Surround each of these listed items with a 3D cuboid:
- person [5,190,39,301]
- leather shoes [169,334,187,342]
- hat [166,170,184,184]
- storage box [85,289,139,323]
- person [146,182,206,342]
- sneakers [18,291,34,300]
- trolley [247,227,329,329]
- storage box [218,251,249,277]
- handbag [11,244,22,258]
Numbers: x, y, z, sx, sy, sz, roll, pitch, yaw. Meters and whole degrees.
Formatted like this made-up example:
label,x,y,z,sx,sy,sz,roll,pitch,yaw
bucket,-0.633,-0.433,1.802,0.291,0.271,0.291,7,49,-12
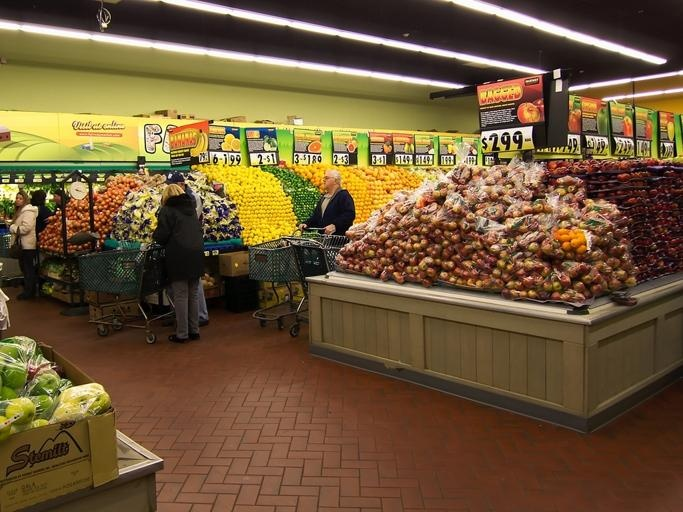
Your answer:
label,x,y,z,sx,sy,sz,roll,pitch,yaw
person,-5.876,-0.240,8.687,0.518,1.973,0.569,-9,11,-31
leather shoes,-2.007,1.011,5.738,0.271,0.093,0.095,9,9,29
hat,-2.316,-1.093,6.468,0.303,0.150,0.208,20,21,34
storage box,-3.234,0.702,6.636,0.731,0.434,0.491,-3,-2,-43
person,-1.941,0.082,5.682,0.574,1.897,0.341,-9,11,-30
sneakers,-5.863,0.727,8.639,0.273,0.073,0.149,0,3,-27
trolley,-0.532,0.310,6.521,0.986,1.319,1.539,1,2,33
storage box,-1.594,0.129,6.985,0.405,0.316,0.551,1,6,-2
handbag,-6.107,-0.107,8.734,0.294,0.316,0.106,2,2,24
